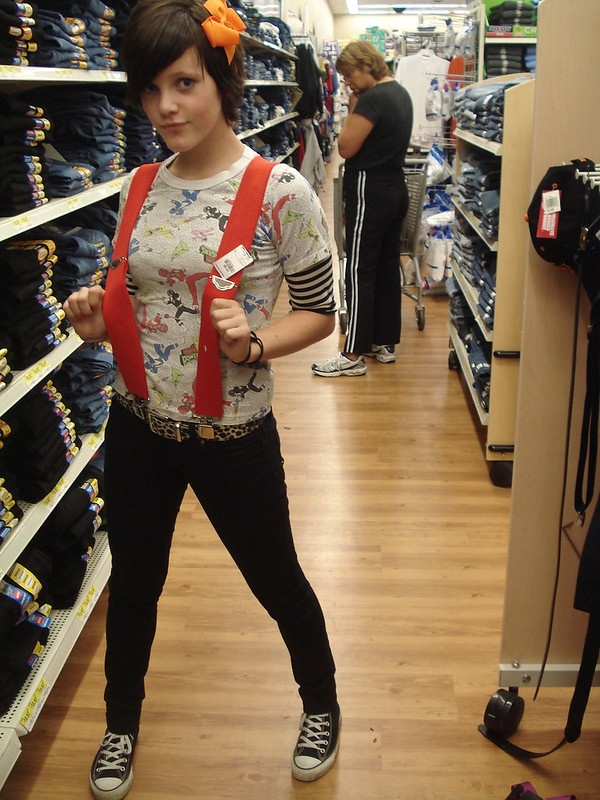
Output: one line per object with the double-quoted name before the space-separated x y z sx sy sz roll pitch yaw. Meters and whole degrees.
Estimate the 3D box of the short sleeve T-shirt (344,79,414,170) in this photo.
"short sleeve T-shirt" 0.486 -1.651 3.573 0.401 0.509 0.222 -6 25 -5

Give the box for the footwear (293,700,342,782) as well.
"footwear" 0.044 0.828 1.399 0.071 0.083 0.204 1 13 9

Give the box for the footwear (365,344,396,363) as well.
"footwear" 0.618 -0.340 4.347 0.248 0.113 0.099 13 17 28

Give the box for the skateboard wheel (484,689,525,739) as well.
"skateboard wheel" 0.518 0.790 1.481 0.093 0.104 0.060 1 8 -44

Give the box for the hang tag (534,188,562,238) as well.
"hang tag" 0.429 -0.318 1.010 0.027 0.079 0.062 -9 26 -12

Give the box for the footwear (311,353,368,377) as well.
"footwear" 0.281 -0.231 4.146 0.410 0.188 0.155 3 -2 1

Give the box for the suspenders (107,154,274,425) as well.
"suspenders" -0.302 -0.180 1.104 0.298 0.440 0.252 -2 -16 -26

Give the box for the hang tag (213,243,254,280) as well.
"hang tag" -0.097 -0.202 0.870 0.058 0.041 0.015 -35 5 2

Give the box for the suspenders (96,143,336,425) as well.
"suspenders" -0.181 -0.215 1.046 0.483 0.459 0.255 12 21 20
